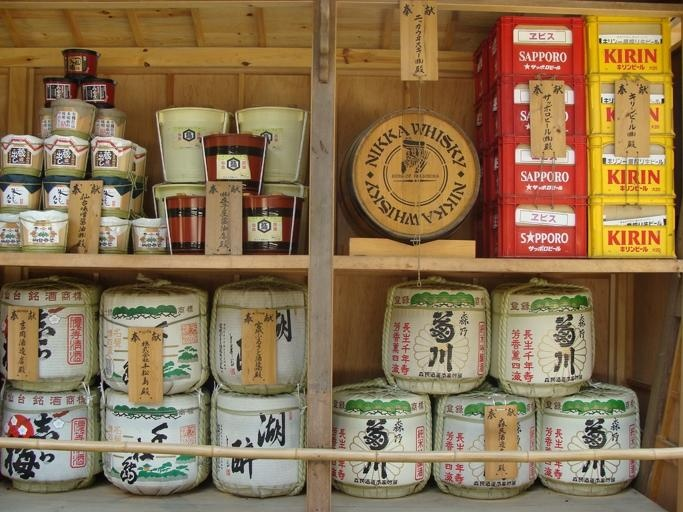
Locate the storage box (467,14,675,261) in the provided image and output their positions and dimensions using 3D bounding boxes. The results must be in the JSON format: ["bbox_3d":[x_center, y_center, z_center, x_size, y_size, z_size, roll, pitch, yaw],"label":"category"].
[{"bbox_3d":[1.357,-0.783,6.058,1.592,1.830,1.483,0,1,3],"label":"storage box"}]
